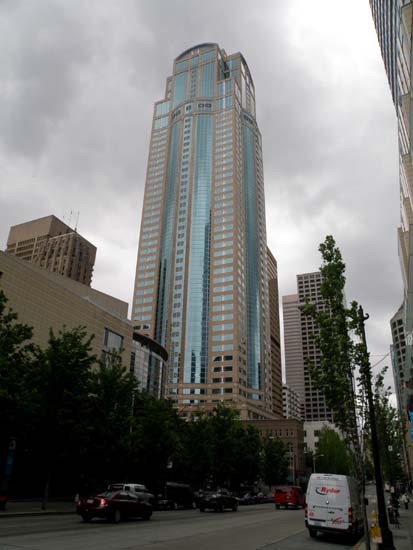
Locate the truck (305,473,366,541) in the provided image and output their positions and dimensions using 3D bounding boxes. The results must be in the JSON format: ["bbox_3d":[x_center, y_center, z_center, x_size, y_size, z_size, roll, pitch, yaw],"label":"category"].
[{"bbox_3d":[5.106,9.198,19.990,1.759,2.349,2.488,-9,-26,24],"label":"truck"}]
